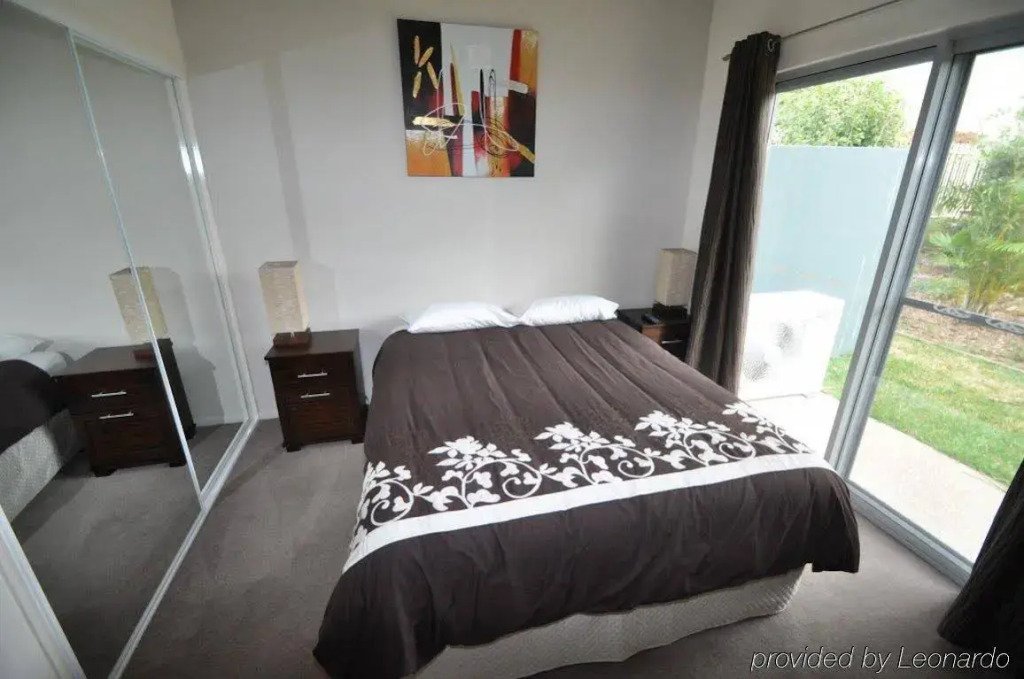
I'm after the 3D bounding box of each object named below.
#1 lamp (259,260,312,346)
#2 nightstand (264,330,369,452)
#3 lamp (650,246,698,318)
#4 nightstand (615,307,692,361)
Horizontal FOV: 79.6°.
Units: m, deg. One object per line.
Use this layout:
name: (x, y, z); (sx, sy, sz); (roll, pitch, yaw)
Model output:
lamp: (-1.640, -0.266, 4.439); (0.276, 0.579, 0.324); (-7, 17, -17)
nightstand: (-1.464, 0.294, 4.614); (0.615, 0.853, 0.538); (-4, 34, -12)
lamp: (1.357, -0.526, 4.943); (0.250, 0.434, 0.248); (-7, 44, 0)
nightstand: (1.178, 0.040, 5.069); (0.555, 0.561, 0.414); (-8, 24, -12)
